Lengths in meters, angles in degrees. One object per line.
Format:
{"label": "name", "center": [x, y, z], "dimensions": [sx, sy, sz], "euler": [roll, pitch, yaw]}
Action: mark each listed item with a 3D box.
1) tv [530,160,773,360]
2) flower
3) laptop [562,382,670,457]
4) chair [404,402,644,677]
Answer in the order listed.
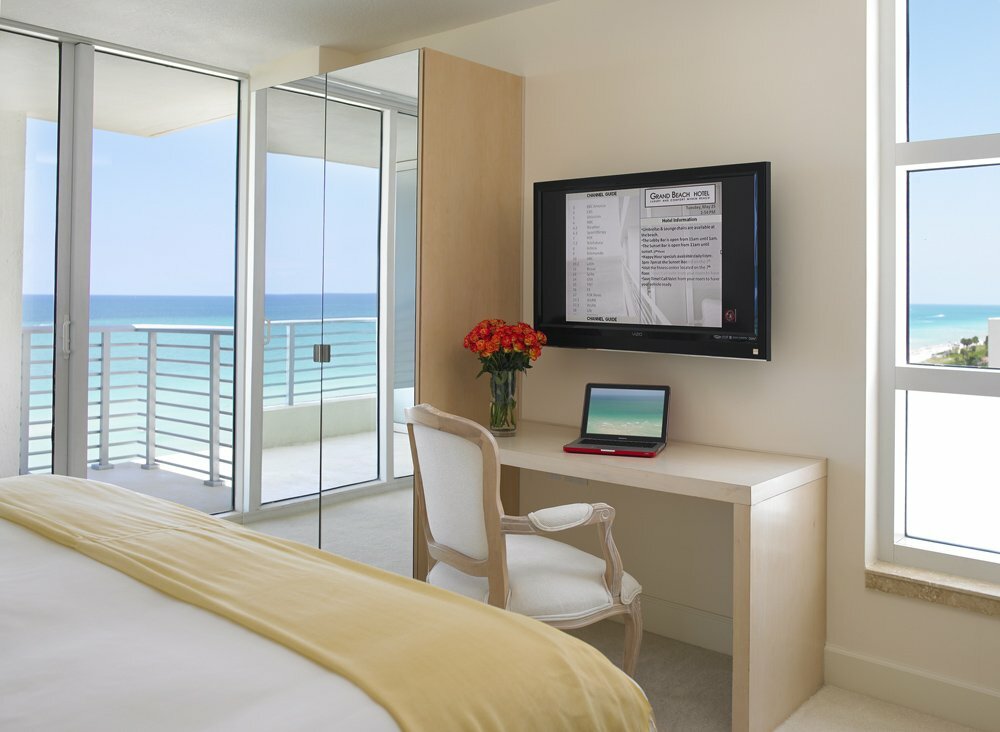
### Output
{"label": "tv", "center": [0.718, -0.482, 3.242], "dimensions": [0.931, 0.655, 0.101], "euler": [2, 3, 38]}
{"label": "flower", "center": [0.049, 0.027, 3.645], "dimensions": [0.455, 0.558, 0.478], "euler": [0, 1, 11]}
{"label": "laptop", "center": [0.535, 0.181, 3.177], "dimensions": [0.369, 0.268, 0.326], "euler": [1, -2, 23]}
{"label": "chair", "center": [0.037, 0.493, 3.135], "dimensions": [0.946, 1.375, 0.989], "euler": [-4, 7, -30]}
